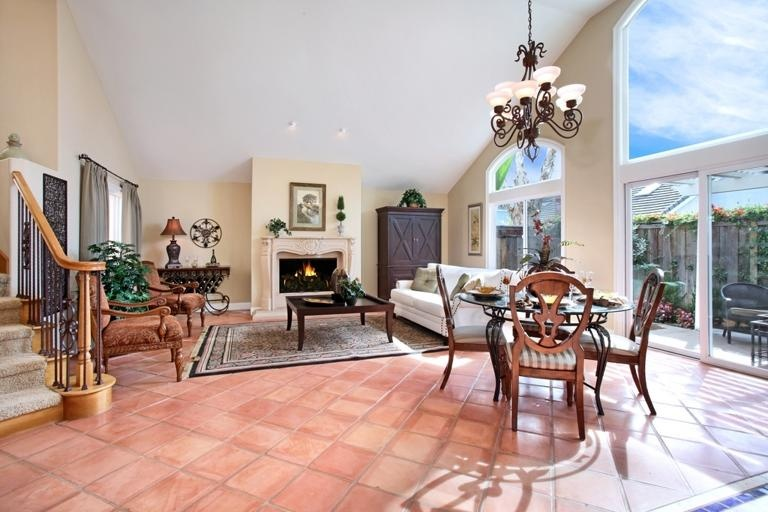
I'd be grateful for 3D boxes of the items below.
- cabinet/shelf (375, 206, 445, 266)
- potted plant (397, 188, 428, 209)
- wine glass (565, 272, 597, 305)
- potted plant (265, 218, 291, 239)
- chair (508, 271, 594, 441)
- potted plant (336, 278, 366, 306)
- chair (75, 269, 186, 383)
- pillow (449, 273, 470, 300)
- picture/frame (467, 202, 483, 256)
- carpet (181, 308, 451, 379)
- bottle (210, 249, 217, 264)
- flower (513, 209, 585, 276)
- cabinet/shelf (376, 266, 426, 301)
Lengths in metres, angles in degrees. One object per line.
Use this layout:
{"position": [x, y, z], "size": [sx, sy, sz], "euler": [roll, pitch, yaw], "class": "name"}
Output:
{"position": [0.500, -0.415, 9.301], "size": [1.330, 1.445, 0.561], "euler": [0, 1, -19], "class": "cabinet/shelf"}
{"position": [0.583, -1.185, 9.546], "size": [0.485, 0.340, 0.486], "euler": [1, -4, 2], "class": "potted plant"}
{"position": [1.979, 0.341, 4.484], "size": [0.323, 0.447, 0.325], "euler": [0, -1, 8], "class": "wine glass"}
{"position": [-2.037, -0.524, 8.477], "size": [0.378, 0.269, 0.379], "euler": [2, -2, 8], "class": "potted plant"}
{"position": [1.573, 0.917, 4.370], "size": [0.845, 1.534, 0.823], "euler": [-1, 1, 17], "class": "chair"}
{"position": [-0.503, 0.534, 6.504], "size": [0.368, 0.363, 0.374], "euler": [2, -3, 8], "class": "potted plant"}
{"position": [-2.946, 0.701, 5.304], "size": [1.337, 1.636, 1.171], "euler": [-1, 1, -19], "class": "chair"}
{"position": [1.156, 0.471, 6.839], "size": [0.128, 0.358, 0.364], "euler": [21, -30, -1], "class": "pillow"}
{"position": [1.871, -0.548, 9.253], "size": [0.049, 1.080, 0.576], "euler": [-1, 1, -20], "class": "picture/frame"}
{"position": [-1.076, 1.263, 6.559], "size": [3.289, 0.279, 2.187], "euler": [-1, 0, -16], "class": "carpet"}
{"position": [-3.399, 0.012, 8.695], "size": [0.141, 0.286, 0.196], "euler": [-1, 1, -23], "class": "bottle"}
{"position": [2.019, -0.056, 5.995], "size": [1.078, 1.081, 1.061], "euler": [-4, -1, 33], "class": "flower"}
{"position": [0.423, 0.763, 9.612], "size": [1.113, 1.096, 0.631], "euler": [0, 0, -27], "class": "cabinet/shelf"}
